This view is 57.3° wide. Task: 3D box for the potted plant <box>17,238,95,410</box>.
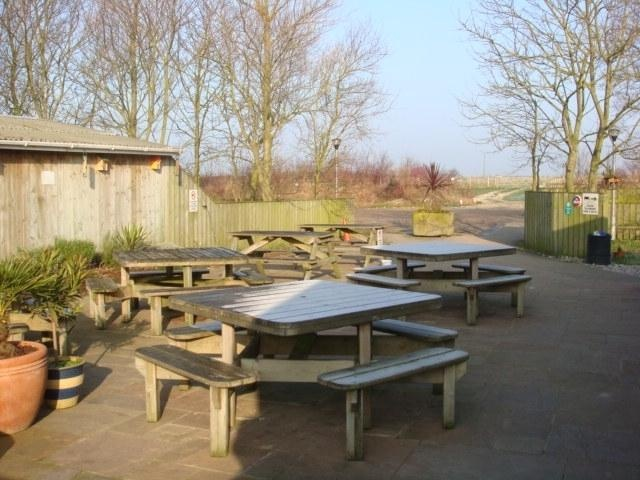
[{"bbox_3d":[-2.765,0.876,6.247,0.764,1.542,1.023,-8,1,-10],"label":"potted plant"}]
